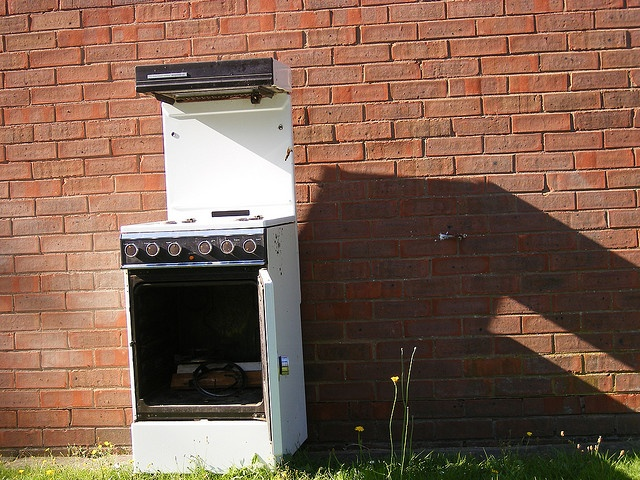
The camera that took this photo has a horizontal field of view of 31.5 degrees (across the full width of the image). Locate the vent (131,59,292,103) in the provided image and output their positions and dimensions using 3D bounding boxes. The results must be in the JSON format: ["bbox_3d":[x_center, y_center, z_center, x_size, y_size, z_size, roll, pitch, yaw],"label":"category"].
[{"bbox_3d":[-0.724,-1.098,7.840,1.023,0.336,0.374,-2,12,2],"label":"vent"}]

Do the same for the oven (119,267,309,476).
[{"bbox_3d":[-0.717,0.973,7.976,1.361,1.653,1.328,-2,-9,0],"label":"oven"}]
